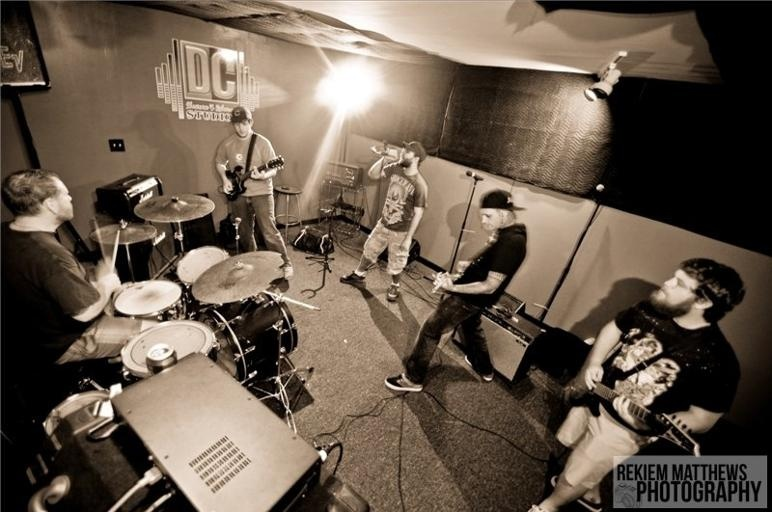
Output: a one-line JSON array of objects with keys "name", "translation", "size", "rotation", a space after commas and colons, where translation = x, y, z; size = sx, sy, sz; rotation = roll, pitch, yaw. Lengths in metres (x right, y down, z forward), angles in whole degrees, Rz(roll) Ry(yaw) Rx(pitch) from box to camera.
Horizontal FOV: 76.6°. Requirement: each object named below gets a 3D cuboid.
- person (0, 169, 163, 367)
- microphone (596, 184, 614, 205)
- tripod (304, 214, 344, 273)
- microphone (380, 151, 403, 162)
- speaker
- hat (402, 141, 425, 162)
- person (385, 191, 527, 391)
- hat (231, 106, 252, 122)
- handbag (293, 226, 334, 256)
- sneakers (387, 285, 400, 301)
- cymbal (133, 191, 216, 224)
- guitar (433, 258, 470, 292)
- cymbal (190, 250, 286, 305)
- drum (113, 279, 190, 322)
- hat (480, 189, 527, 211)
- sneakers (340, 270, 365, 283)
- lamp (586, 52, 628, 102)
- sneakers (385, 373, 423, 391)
[{"name": "person", "translation": [-3.198, 0.148, 5.143], "size": [1.024, 2.030, 1.292], "rotation": [38, 38, 19]}, {"name": "microphone", "translation": [2.571, -0.738, 5.843], "size": [0.046, 0.220, 0.211], "rotation": [-15, 35, -42]}, {"name": "tripod", "translation": [-1.026, -0.178, 8.014], "size": [0.583, 0.802, 0.531], "rotation": [12, 46, -15]}, {"name": "microphone", "translation": [0.081, -1.473, 7.289], "size": [0.310, 0.073, 0.278], "rotation": [-1, 33, -27]}, {"name": "speaker", "translation": [1.341, 1.082, 5.919], "size": [0.358, 0.727, 0.775], "rotation": [-7, 36, -45]}, {"name": "hat", "translation": [0.390, -1.413, 6.492], "size": [0.315, 0.161, 0.227], "rotation": [40, 24, -12]}, {"name": "person", "translation": [0.877, 0.467, 6.117], "size": [1.546, 2.640, 1.129], "rotation": [14, 34, 5]}, {"name": "hat", "translation": [-1.927, -1.892, 6.608], "size": [0.185, 0.148, 0.255], "rotation": [14, 31, 21]}, {"name": "handbag", "translation": [-1.123, -0.187, 7.849], "size": [0.589, 0.266, 0.431], "rotation": [11, 27, -25]}, {"name": "sneakers", "translation": [0.090, 0.533, 6.990], "size": [0.139, 0.102, 0.250], "rotation": [1, 33, 6]}, {"name": "cymbal", "translation": [-2.539, -0.566, 5.888], "size": [0.545, 0.113, 0.532], "rotation": [3, 26, -27]}, {"name": "guitar", "translation": [0.739, 0.265, 5.515], "size": [0.125, 0.467, 0.405], "rotation": [18, 55, -32]}, {"name": "cymbal", "translation": [-1.541, 0.212, 5.156], "size": [0.926, 0.294, 0.629], "rotation": [-6, 29, -32]}, {"name": "drum", "translation": [-2.509, 0.449, 5.234], "size": [0.505, 0.508, 0.500], "rotation": [12, -3, -37]}, {"name": "hat", "translation": [1.386, -0.649, 5.698], "size": [0.429, 0.168, 0.319], "rotation": [17, 20, 31]}, {"name": "sneakers", "translation": [-0.502, 0.305, 7.170], "size": [0.374, 0.157, 0.146], "rotation": [5, 2, 2]}, {"name": "lamp", "translation": [2.282, -1.886, 5.142], "size": [0.272, 0.506, 0.752], "rotation": [18, 26, 16]}, {"name": "sneakers", "translation": [0.185, 1.488, 5.753], "size": [0.468, 0.182, 0.173], "rotation": [8, -3, -1]}]
